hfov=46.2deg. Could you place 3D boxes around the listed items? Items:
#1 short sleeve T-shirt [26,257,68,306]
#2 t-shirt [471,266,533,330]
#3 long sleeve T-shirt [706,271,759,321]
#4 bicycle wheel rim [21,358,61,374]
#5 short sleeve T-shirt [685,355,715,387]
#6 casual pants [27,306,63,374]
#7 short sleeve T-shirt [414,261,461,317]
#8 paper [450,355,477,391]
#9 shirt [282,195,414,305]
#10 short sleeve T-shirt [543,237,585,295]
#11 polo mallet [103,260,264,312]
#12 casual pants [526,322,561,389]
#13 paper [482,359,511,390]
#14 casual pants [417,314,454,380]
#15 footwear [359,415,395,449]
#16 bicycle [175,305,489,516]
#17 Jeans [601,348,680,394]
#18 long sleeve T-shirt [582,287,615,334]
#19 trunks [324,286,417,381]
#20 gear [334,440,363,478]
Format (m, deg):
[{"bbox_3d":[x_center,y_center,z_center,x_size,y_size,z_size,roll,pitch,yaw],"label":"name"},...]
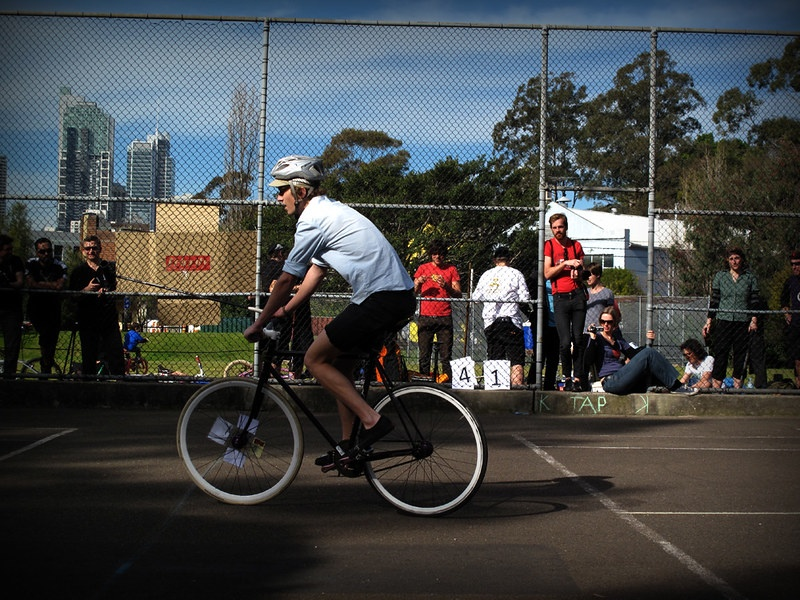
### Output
[{"bbox_3d":[-4.746,-0.249,12.611,0.588,0.762,0.396,2,-6,-31],"label":"short sleeve T-shirt"},{"bbox_3d":[1.418,-0.030,13.316,0.800,1.021,0.420,-1,31,12],"label":"t-shirt"},{"bbox_3d":[4.655,-0.041,13.089,0.620,0.661,0.355,0,-13,14],"label":"long sleeve T-shirt"},{"bbox_3d":[-5.044,0.935,13.216,0.372,0.201,0.226,5,-17,17],"label":"bicycle wheel rim"},{"bbox_3d":[4.346,1.035,13.557,0.201,0.385,0.330,24,-19,-17],"label":"short sleeve T-shirt"},{"bbox_3d":[-4.872,0.441,12.848,0.376,1.107,0.443,0,1,-32],"label":"casual pants"},{"bbox_3d":[0.511,-0.156,12.986,0.722,0.911,0.323,1,-3,-4],"label":"short sleeve T-shirt"},{"bbox_3d":[0.849,0.993,12.526,0.395,0.489,0.023,0,-1,-4],"label":"paper"},{"bbox_3d":[-0.410,-0.412,7.860,0.939,0.869,0.691,5,7,25],"label":"shirt"},{"bbox_3d":[2.243,-0.474,12.791,0.612,0.793,0.292,-10,32,-2],"label":"short sleeve T-shirt"},{"bbox_3d":[-2.822,-0.215,12.337,0.331,0.158,3.271,17,-5,-41],"label":"polo mallet"},{"bbox_3d":[2.090,0.764,13.076,0.581,0.418,1.424,-14,18,14],"label":"casual pants"},{"bbox_3d":[1.295,1.002,12.495,0.351,0.402,0.019,0,-6,-5],"label":"paper"},{"bbox_3d":[0.504,0.680,13.515,0.490,1.177,0.340,-1,33,1],"label":"casual pants"},{"bbox_3d":[-0.189,1.081,7.661,0.287,0.292,0.172,1,1,-2],"label":"footwear"},{"bbox_3d":[-0.579,1.061,8.592,2.766,1.777,1.321,5,-2,8],"label":"bicycle"},{"bbox_3d":[3.240,0.968,12.650,0.885,0.471,0.565,-6,-4,0],"label":"Jeans"},{"bbox_3d":[2.806,0.176,13.316,0.562,0.760,0.269,0,-25,24],"label":"long sleeve T-shirt"},{"bbox_3d":[-0.239,0.234,7.668,0.715,0.622,0.298,1,1,1],"label":"trunks"},{"bbox_3d":[-0.413,1.315,7.772,0.216,0.319,0.133,1,1,0],"label":"gear"}]
